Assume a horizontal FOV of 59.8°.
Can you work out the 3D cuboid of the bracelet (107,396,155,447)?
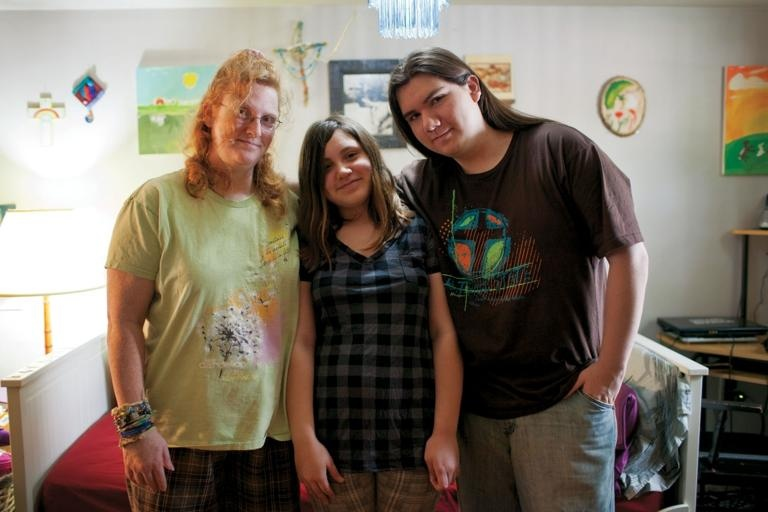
[{"bbox_3d":[-0.983,0.623,2.645,0.176,0.170,0.166,-17,6,-23],"label":"bracelet"}]
